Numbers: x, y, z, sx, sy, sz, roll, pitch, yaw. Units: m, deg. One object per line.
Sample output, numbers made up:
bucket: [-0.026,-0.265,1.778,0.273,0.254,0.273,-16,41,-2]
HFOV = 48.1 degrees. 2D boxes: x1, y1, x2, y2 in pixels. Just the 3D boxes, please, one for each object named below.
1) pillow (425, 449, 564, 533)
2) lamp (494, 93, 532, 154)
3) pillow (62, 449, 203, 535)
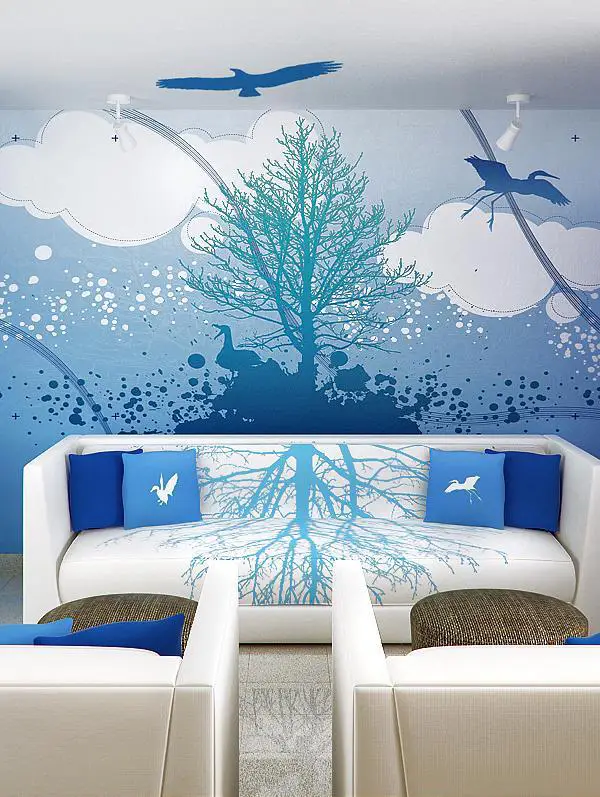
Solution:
pillow: [0.918,0.420,3.149,0.648,0.354,0.175,-1,-7,10]
lamp: [1.093,-1.404,3.419,0.124,0.265,0.107,-3,18,-11]
pillow: [-0.778,0.423,3.322,0.655,0.363,0.171,-3,1,1]
